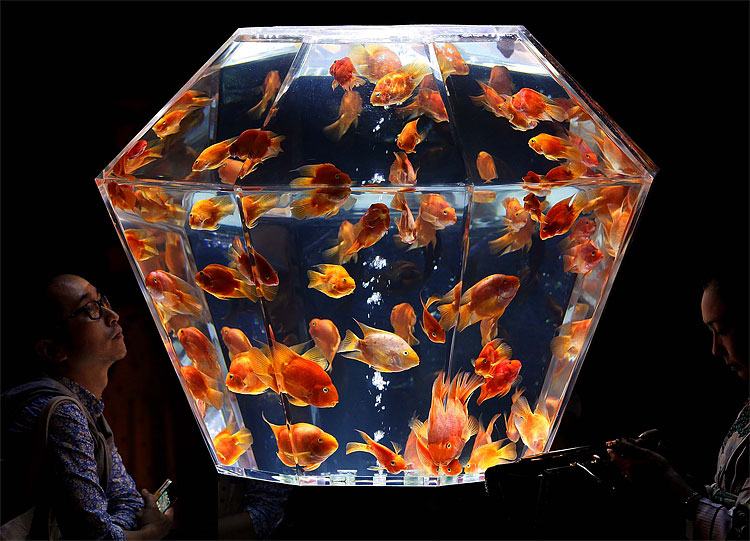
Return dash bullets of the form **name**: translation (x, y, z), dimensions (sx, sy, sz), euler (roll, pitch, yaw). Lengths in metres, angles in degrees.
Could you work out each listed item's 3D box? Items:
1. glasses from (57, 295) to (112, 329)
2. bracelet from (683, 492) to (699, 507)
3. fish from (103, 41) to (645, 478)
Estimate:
- **glasses**: translation (-1.108, 0.156, 3.007), dimensions (0.142, 0.046, 0.108), euler (-13, -1, 7)
- **bracelet**: translation (1.224, 0.883, 3.038), dimensions (0.052, 0.019, 0.039), euler (-39, -8, 9)
- **fish**: translation (-0.012, -0.058, 2.986), dimensions (1.526, 1.114, 1.442), euler (0, 0, -2)
